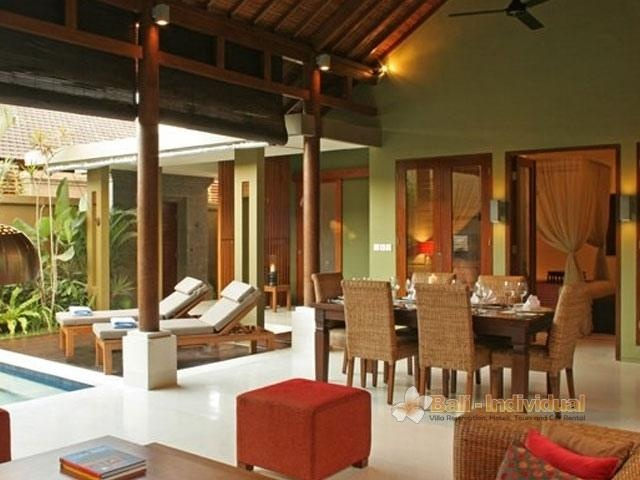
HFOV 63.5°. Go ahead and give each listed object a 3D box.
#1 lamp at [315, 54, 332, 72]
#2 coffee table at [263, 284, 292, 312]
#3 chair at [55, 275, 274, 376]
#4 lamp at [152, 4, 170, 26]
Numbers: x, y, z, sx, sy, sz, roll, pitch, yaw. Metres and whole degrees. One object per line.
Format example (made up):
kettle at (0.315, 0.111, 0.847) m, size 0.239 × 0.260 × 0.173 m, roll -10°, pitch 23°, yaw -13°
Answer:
lamp at (0.040, -2.639, 7.657) m, size 0.193 × 0.223 × 0.214 m, roll 2°, pitch 0°, yaw 14°
coffee table at (-0.972, 1.239, 11.473) m, size 0.621 × 0.586 × 0.614 m, roll -2°, pitch 1°, yaw -42°
chair at (-1.909, 1.105, 6.795) m, size 1.560 × 0.737 × 1.721 m, roll 2°, pitch -3°, yaw -33°
lamp at (-1.686, -2.362, 5.438) m, size 0.181 × 0.157 × 0.241 m, roll 2°, pitch 0°, yaw -19°
